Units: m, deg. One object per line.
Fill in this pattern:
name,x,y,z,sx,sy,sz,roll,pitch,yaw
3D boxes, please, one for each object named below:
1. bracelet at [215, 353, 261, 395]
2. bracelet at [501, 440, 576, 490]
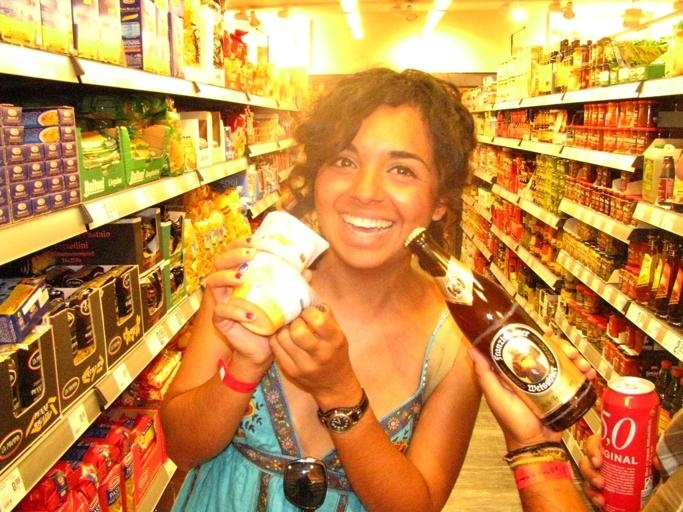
bracelet,-0.244,0.263,0.992,0.029,0.079,0.080,-43,65,-11
bracelet,0.405,0.412,0.877,0.107,0.080,0.110,-22,-23,35
